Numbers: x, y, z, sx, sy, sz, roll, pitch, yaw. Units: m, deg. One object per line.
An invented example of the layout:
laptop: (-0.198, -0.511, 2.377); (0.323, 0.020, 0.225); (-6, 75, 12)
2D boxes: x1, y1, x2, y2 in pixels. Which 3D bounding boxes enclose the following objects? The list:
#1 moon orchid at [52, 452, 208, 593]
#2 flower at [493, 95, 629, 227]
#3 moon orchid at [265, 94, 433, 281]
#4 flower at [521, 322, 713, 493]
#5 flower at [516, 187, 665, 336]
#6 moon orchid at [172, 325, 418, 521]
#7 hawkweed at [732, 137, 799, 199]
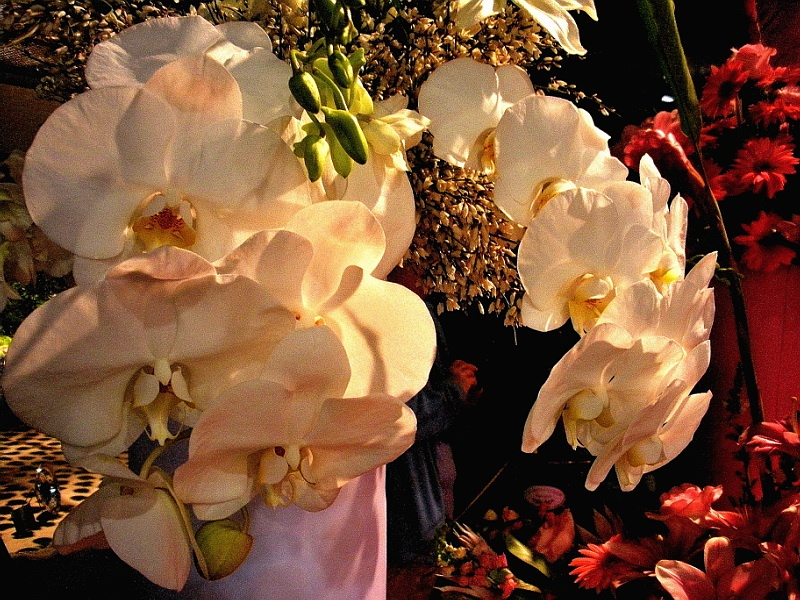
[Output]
moon orchid: (-0.199, 0.148, 0.485); (0.074, 0.059, 0.103); (0, -20, 9)
flower: (0.110, -0.101, 0.501); (0.089, 0.095, 0.043); (32, 6, 3)
moon orchid: (-0.018, -0.075, 0.485); (0.091, 0.121, 0.040); (3, 1, -10)
flower: (0.148, 0.052, 0.541); (0.121, 0.130, 0.065); (34, 28, -20)
flower: (0.128, -0.028, 0.486); (0.094, 0.105, 0.047); (20, -3, 24)
moon orchid: (-0.073, 0.075, 0.454); (0.136, 0.128, 0.054); (3, 36, -14)
hawkweed: (0.926, -0.335, 1.802); (0.132, 0.147, 0.061); (14, 13, 23)
